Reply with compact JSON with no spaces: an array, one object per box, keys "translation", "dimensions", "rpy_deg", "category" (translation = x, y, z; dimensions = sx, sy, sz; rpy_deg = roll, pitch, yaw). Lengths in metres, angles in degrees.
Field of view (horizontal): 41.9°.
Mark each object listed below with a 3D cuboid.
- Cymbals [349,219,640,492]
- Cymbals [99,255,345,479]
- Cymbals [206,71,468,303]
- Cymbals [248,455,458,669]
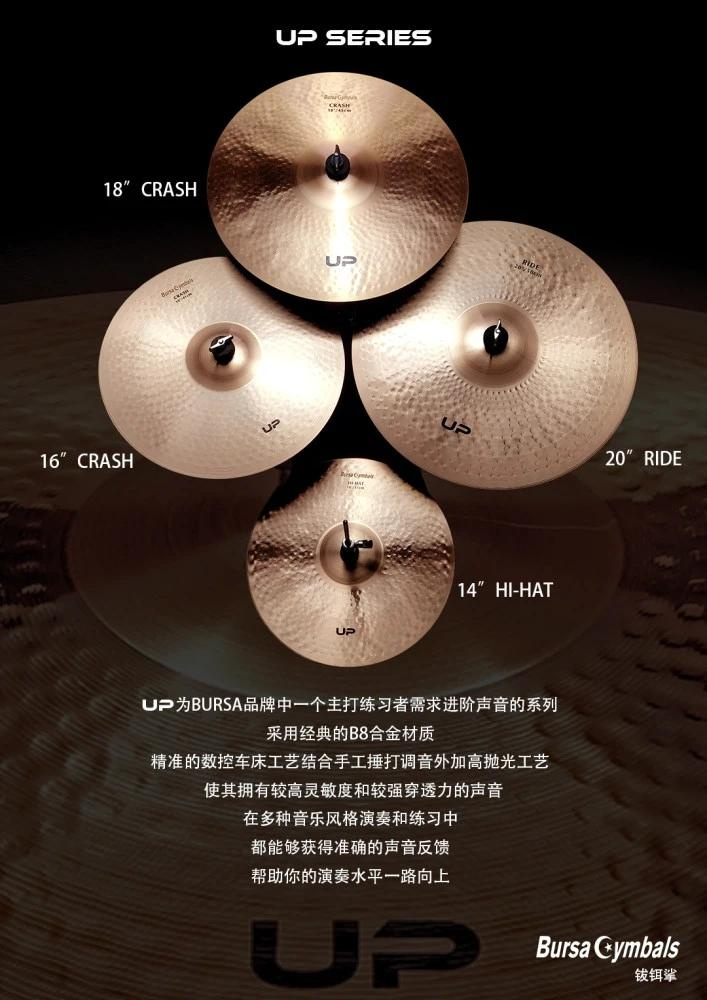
[{"translation":[0.319,-0.293,1.970],"dimensions":[0.525,0.261,0.557],"rpy_deg":[40,65,21],"category":"Cymbals"},{"translation":[-0.300,-0.272,1.981],"dimensions":[0.503,0.194,0.434],"rpy_deg":[32,62,17],"category":"Cymbals"},{"translation":[-0.032,-0.719,1.968],"dimensions":[0.618,0.592,0.119],"rpy_deg":[3,76,8],"category":"Cymbals"},{"translation":[0.000,0.135,1.992],"dimensions":[0.432,0.191,0.406],"rpy_deg":[-35,65,-21],"category":"Cymbals"}]
